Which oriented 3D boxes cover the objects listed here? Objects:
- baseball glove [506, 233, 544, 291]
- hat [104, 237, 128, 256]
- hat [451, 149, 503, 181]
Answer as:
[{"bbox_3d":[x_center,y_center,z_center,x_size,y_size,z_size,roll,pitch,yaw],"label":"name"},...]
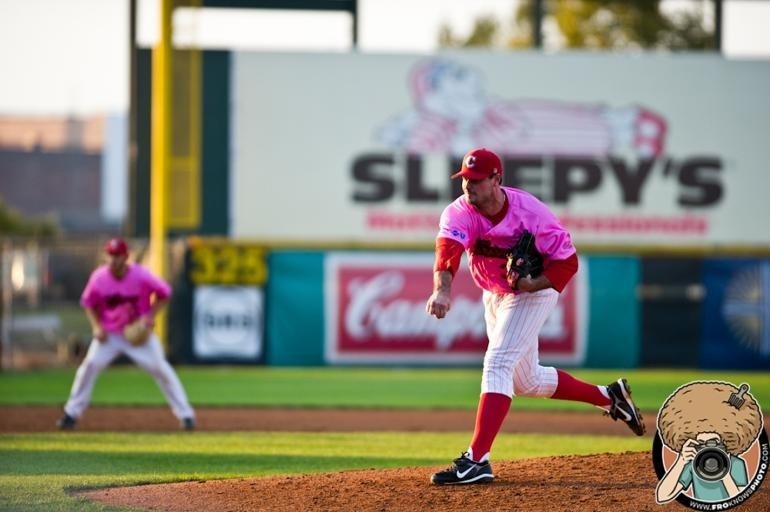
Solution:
[{"bbox_3d":[1.559,0.067,18.111,0.412,0.631,0.245,4,0,-44],"label":"baseball glove"},{"bbox_3d":[-3.370,-0.111,19.978,0.221,0.191,0.232,6,7,31],"label":"hat"},{"bbox_3d":[1.034,-1.017,18.166,0.465,0.296,0.332,2,2,-23],"label":"hat"}]
